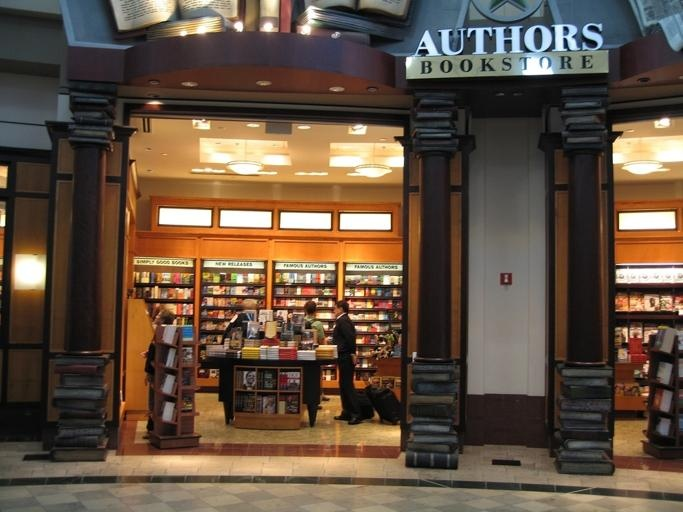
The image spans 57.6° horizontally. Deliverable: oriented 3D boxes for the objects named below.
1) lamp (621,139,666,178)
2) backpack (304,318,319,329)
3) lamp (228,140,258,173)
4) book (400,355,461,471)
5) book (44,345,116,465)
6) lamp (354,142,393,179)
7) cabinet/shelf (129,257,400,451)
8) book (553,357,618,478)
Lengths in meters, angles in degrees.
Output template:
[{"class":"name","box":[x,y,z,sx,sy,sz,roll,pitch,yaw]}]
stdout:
[{"class":"lamp","box":[5.267,-1.711,10.854,0.616,0.314,0.601,-1,-3,33]},{"class":"backpack","box":[-0.471,1.091,10.009,0.243,0.124,0.251,19,-9,-42]},{"class":"lamp","box":[-1.854,-1.835,11.660,0.586,0.534,0.760,2,-2,-22]},{"class":"book","box":[1.082,1.838,7.374,0.605,1.244,0.371,1,-3,8]},{"class":"book","box":[-3.086,1.762,7.336,0.603,1.231,0.292,2,-3,-16]},{"class":"lamp","box":[0.601,-1.836,11.925,0.751,0.654,0.688,0,-5,19]},{"class":"cabinet/shelf","box":[-1.264,1.367,10.477,3.987,2.695,6.045,1,-2,-6]},{"class":"book","box":[2.879,1.876,7.355,0.637,1.227,0.675,0,-3,19]}]
